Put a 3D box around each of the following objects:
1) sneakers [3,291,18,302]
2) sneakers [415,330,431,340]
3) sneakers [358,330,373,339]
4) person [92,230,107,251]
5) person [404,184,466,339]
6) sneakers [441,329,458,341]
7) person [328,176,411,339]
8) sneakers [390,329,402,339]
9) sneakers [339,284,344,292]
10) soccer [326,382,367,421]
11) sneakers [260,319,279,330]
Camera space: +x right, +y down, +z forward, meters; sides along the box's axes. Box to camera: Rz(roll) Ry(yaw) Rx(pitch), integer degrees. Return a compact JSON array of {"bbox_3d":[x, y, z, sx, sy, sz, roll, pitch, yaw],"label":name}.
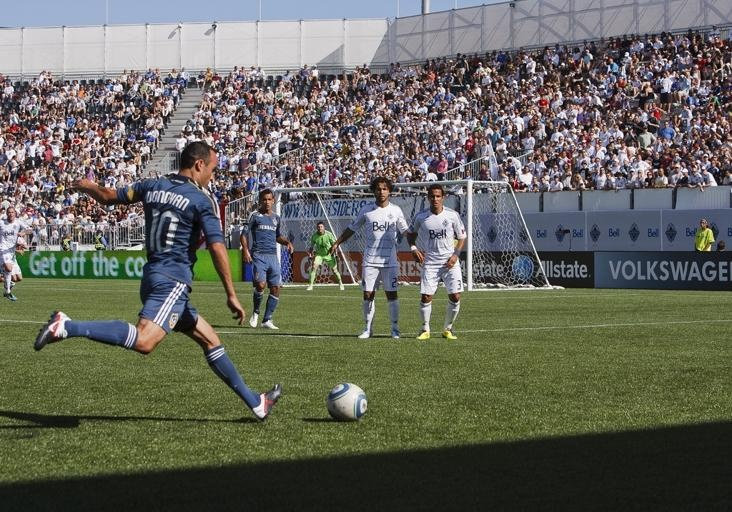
[{"bbox_3d":[-7.877,0.868,25.492,0.185,0.225,0.501,3,4,-37],"label":"sneakers"},{"bbox_3d":[0.924,1.272,18.156,0.248,0.111,0.094,-19,31,41],"label":"sneakers"},{"bbox_3d":[-0.013,1.240,18.175,0.217,0.123,0.380,0,12,2],"label":"sneakers"},{"bbox_3d":[-9.005,-0.605,39.115,0.509,0.788,0.329,7,26,37],"label":"person"},{"bbox_3d":[1.161,0.129,18.448,0.857,2.555,1.376,0,11,4],"label":"person"},{"bbox_3d":[1.326,1.242,18.120,0.226,0.152,0.477,0,12,4],"label":"sneakers"},{"bbox_3d":[0.214,0.044,18.522,1.011,2.718,1.386,-1,11,-1],"label":"person"},{"bbox_3d":[0.479,1.233,18.336,0.105,0.116,0.295,-1,-7,-1],"label":"sneakers"},{"bbox_3d":[-0.653,0.829,30.974,0.159,0.173,0.152,-1,2,7],"label":"sneakers"},{"bbox_3d":[-0.201,1.703,13.673,0.415,0.439,0.439,2,39,18],"label":"soccer"},{"bbox_3d":[-1.659,1.169,19.831,0.348,0.165,0.130,4,3,25],"label":"sneakers"}]
